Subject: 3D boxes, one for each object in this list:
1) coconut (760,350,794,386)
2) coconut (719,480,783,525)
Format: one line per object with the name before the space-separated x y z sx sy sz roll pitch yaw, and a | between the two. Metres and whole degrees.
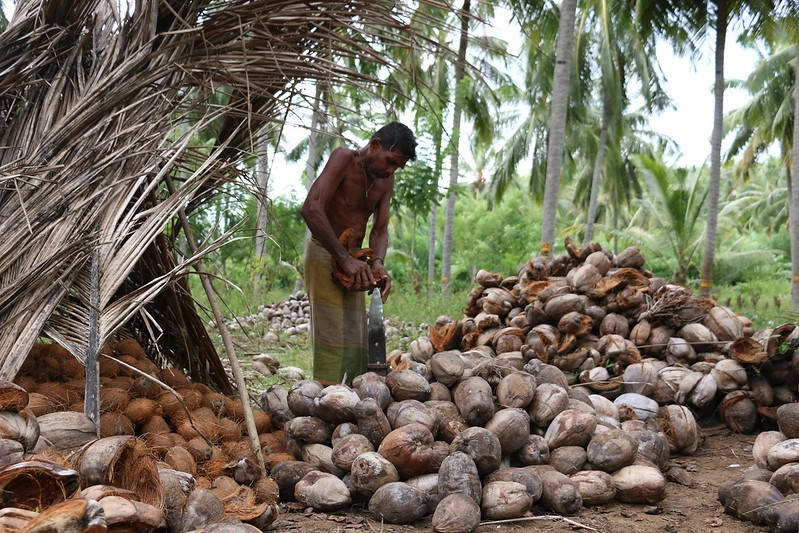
coconut | 3.549 0.970 6.934 0.278 0.239 0.167 -3 24 -3
coconut | 2.578 1.734 5.464 0.322 0.203 0.247 -7 -8 38
